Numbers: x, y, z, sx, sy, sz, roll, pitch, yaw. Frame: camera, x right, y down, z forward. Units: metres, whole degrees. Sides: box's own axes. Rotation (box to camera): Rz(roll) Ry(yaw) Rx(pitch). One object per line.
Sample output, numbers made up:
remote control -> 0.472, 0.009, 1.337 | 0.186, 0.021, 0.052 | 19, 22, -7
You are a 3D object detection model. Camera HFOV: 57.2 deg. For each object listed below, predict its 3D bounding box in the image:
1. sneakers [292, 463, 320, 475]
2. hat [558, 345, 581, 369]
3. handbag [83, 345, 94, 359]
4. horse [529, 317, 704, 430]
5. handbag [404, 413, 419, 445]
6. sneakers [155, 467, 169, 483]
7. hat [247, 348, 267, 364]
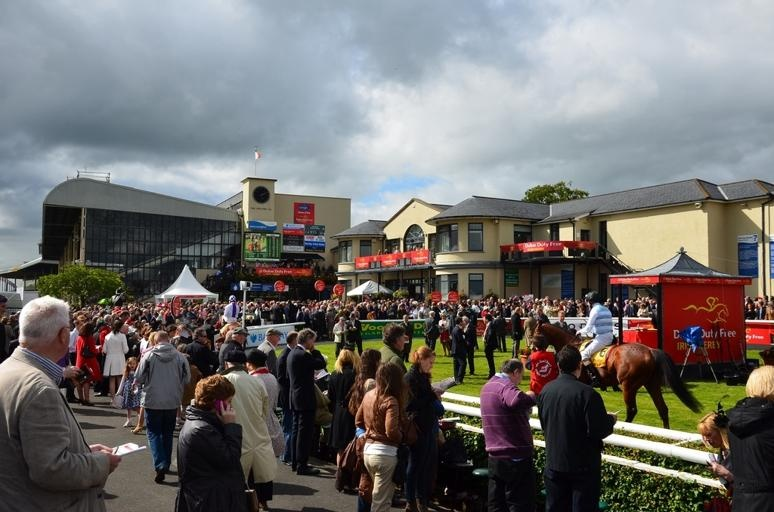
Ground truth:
sneakers -> -1.377, 3.683, 12.304 | 0.532, 0.230, 0.177 | 0, 1, -8
hat -> 2.475, 1.368, 9.635 | 0.257, 0.325, 0.320 | 2, 13, 15
handbag -> -6.935, 2.207, 16.438 | 0.281, 0.289, 0.130 | 4, 13, 21
horse -> 4.693, 2.457, 15.022 | 0.936, 2.274, 3.814 | 2, -7, -42
handbag -> 0.343, 2.470, 9.981 | 0.186, 0.472, 0.423 | 0, -3, 5
sneakers -> -3.731, 3.631, 11.760 | 0.131, 0.310, 0.130 | 9, 18, -23
hat -> -2.044, 1.579, 11.168 | 0.214, 0.209, 0.269 | 10, 18, -22
